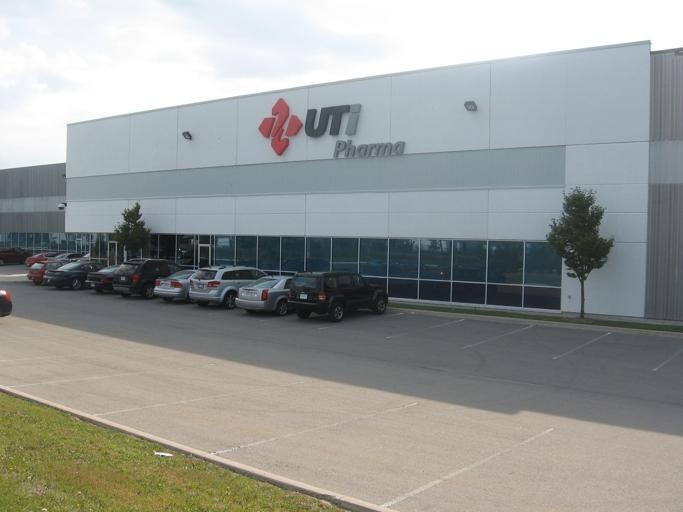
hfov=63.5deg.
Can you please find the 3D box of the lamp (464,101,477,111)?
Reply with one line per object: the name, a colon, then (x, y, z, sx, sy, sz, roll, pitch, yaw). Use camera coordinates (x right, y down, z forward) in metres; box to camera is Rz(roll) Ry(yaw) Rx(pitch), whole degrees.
lamp: (5.994, -6.995, 25.834, 0.459, 0.336, 0.477, 4, 3, 44)
